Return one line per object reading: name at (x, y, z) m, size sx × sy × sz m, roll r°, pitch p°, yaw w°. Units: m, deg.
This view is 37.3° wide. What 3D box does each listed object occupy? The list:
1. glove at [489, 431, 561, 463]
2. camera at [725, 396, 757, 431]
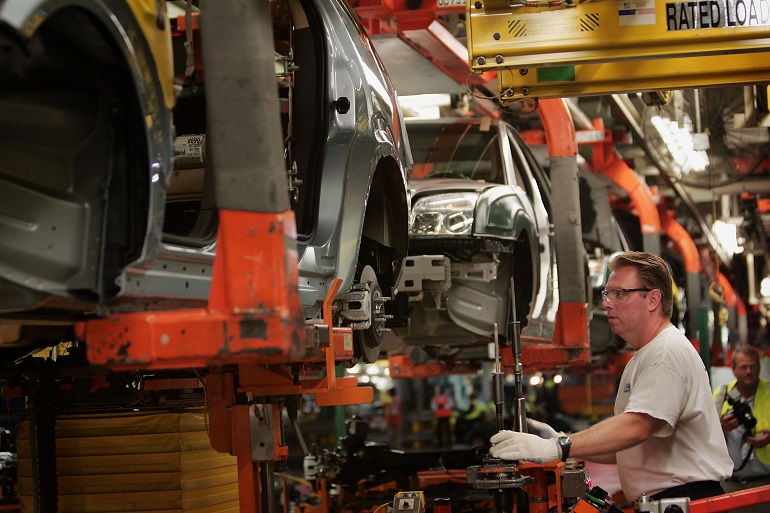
glove at (0.804, 1.080, 6.535) m, size 0.309 × 0.095 × 0.194 m, roll 0°, pitch 13°, yaw 3°
camera at (3.014, 1.331, 9.772) m, size 0.113 × 0.249 × 0.237 m, roll -23°, pitch 20°, yaw -16°
